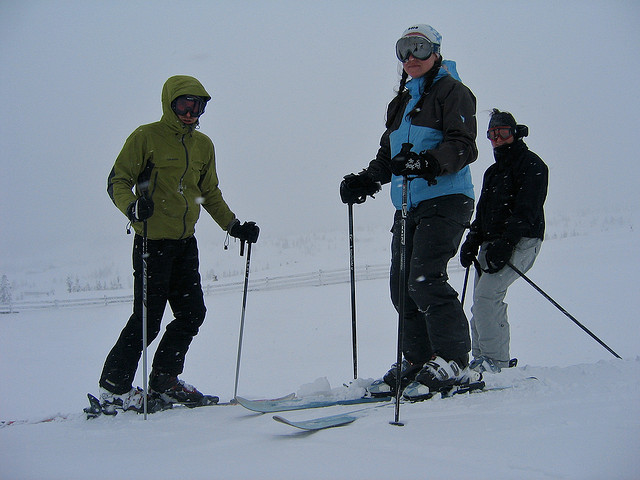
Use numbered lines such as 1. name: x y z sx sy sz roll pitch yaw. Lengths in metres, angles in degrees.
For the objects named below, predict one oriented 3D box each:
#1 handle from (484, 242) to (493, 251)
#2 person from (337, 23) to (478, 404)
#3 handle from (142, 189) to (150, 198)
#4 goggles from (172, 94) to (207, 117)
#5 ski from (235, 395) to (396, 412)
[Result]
1. handle: 1.909 0.069 8.447 0.048 0.028 0.102 -5 27 29
2. person: 0.994 -0.262 7.656 1.065 3.777 1.338 4 -17 -21
3. handle: -1.822 -0.499 7.814 0.067 0.069 0.057 -2 3 31
4. goggles: -1.375 -1.433 7.848 0.347 0.197 0.128 1 -17 -14
5. ski: -0.077 1.649 7.585 1.552 0.189 0.239 -3 -18 -3
